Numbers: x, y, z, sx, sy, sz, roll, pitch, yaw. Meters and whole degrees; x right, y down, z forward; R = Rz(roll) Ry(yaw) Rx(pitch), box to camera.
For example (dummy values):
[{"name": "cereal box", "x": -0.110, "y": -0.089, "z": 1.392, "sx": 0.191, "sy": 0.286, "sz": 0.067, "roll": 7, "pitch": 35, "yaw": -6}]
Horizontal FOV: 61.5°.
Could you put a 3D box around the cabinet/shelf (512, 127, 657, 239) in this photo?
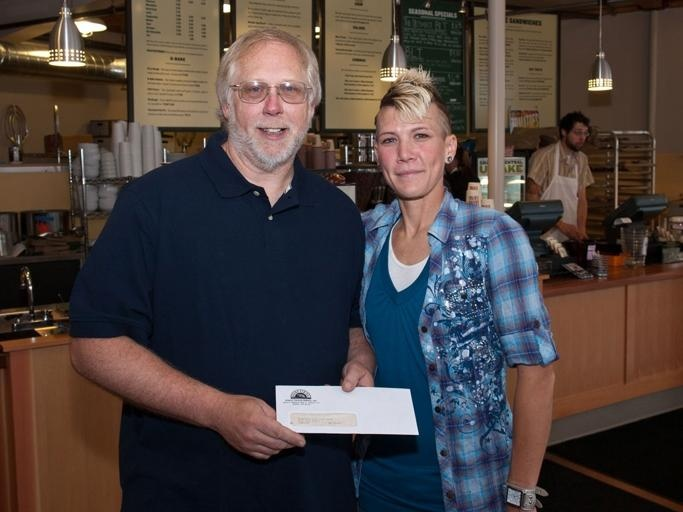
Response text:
[{"name": "cabinet/shelf", "x": 2.558, "y": -0.794, "z": 6.078, "sx": 1.413, "sy": 1.546, "sz": 0.483, "roll": -2, "pitch": 4, "yaw": -18}]

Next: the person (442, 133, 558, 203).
[{"name": "person", "x": 1.471, "y": -0.793, "z": 5.193, "sx": 0.891, "sy": 0.532, "sz": 0.509, "roll": -4, "pitch": 33, "yaw": -12}]

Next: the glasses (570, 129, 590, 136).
[{"name": "glasses", "x": 2.378, "y": -1.214, "z": 5.656, "sx": 0.244, "sy": 0.068, "sz": 0.107, "roll": -8, "pitch": 9, "yaw": -37}]

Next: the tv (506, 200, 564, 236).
[{"name": "tv", "x": 1.312, "y": -0.258, "z": 3.863, "sx": 0.349, "sy": 0.265, "sz": 0.255, "roll": -3, "pitch": 21, "yaw": -18}]

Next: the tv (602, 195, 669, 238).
[{"name": "tv", "x": 2.493, "y": -0.361, "z": 4.978, "sx": 0.403, "sy": 0.407, "sz": 0.395, "roll": 0, "pitch": 23, "yaw": -47}]
